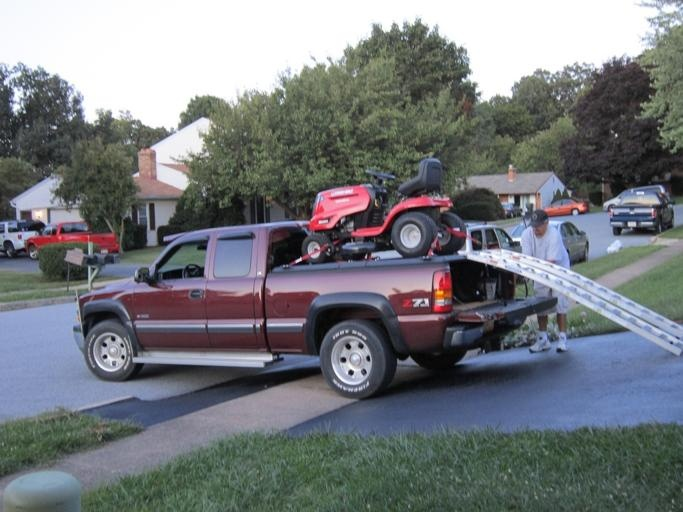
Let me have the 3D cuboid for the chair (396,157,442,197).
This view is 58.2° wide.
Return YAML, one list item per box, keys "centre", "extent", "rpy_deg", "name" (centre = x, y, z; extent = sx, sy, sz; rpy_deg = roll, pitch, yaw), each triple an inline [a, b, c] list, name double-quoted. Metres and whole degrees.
- centre: [1.240, -1.153, 9.643]
  extent: [0.519, 0.798, 0.700]
  rpy_deg: [-3, 2, -41]
  name: "chair"

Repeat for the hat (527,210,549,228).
- centre: [3.085, -0.602, 9.510]
  extent: [0.203, 0.220, 0.319]
  rpy_deg: [2, 12, 40]
  name: "hat"

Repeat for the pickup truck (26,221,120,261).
- centre: [-12.028, -0.746, 27.625]
  extent: [3.455, 1.567, 1.751]
  rpy_deg: [5, 6, 27]
  name: "pickup truck"
